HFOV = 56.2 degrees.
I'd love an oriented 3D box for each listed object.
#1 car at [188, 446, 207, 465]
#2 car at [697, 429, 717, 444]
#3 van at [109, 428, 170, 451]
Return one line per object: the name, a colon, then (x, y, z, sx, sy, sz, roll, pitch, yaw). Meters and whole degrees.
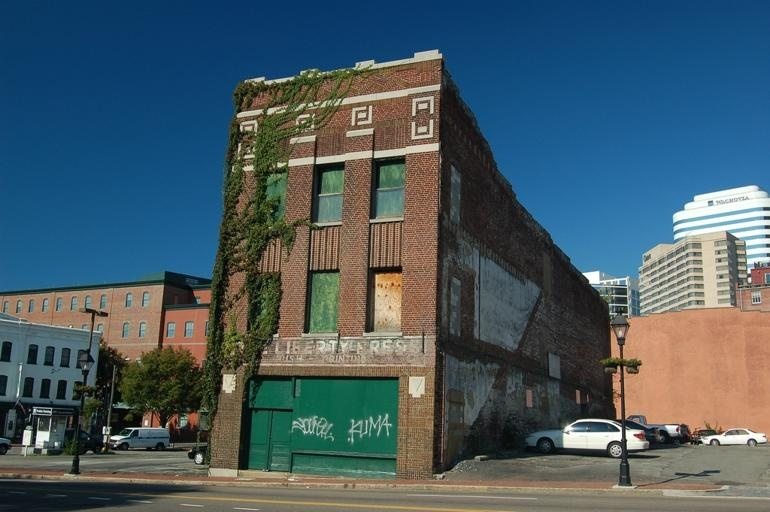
car: (-11.737, 12.482, 45.130, 0.944, 1.585, 3.088, 3, -9, -19)
car: (31.886, 18.030, 71.786, 2.201, 1.061, 1.219, -2, -5, -31)
van: (-23.433, 17.522, 69.015, 2.478, 1.650, 4.637, -17, -27, 40)
